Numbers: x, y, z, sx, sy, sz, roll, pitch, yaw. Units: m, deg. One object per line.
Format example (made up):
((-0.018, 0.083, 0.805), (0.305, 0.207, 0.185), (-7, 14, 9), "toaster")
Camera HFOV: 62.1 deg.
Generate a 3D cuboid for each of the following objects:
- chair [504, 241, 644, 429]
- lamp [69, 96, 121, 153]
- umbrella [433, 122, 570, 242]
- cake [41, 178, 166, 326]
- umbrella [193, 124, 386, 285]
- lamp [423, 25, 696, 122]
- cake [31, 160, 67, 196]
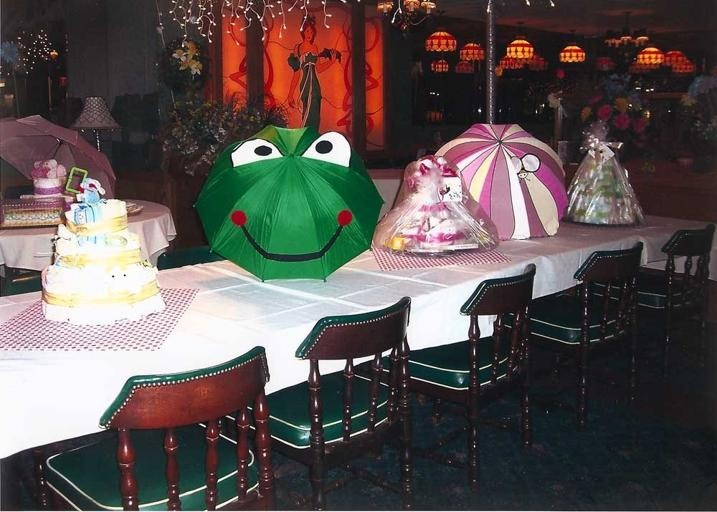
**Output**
((1.219, 0.398, 3.386), (0.702, 0.924, 0.706), (-3, 6, -8), "chair")
((-2.701, -1.326, 6.179), (0.455, 0.696, 0.458), (-20, 27, -31), "lamp")
((0.832, -0.516, 3.553), (0.742, 0.289, 0.750), (4, 16, -17), "umbrella")
((-0.986, -0.047, 2.241), (0.433, 0.497, 0.455), (9, 13, 36), "cake")
((-0.320, -0.201, 2.646), (0.657, 0.707, 0.267), (18, -15, -10), "umbrella")
((2.647, -2.564, 8.162), (2.590, 0.713, 2.809), (9, 16, 34), "lamp")
((-2.168, -0.493, 4.175), (0.213, 0.215, 0.256), (-8, -5, -25), "cake")
